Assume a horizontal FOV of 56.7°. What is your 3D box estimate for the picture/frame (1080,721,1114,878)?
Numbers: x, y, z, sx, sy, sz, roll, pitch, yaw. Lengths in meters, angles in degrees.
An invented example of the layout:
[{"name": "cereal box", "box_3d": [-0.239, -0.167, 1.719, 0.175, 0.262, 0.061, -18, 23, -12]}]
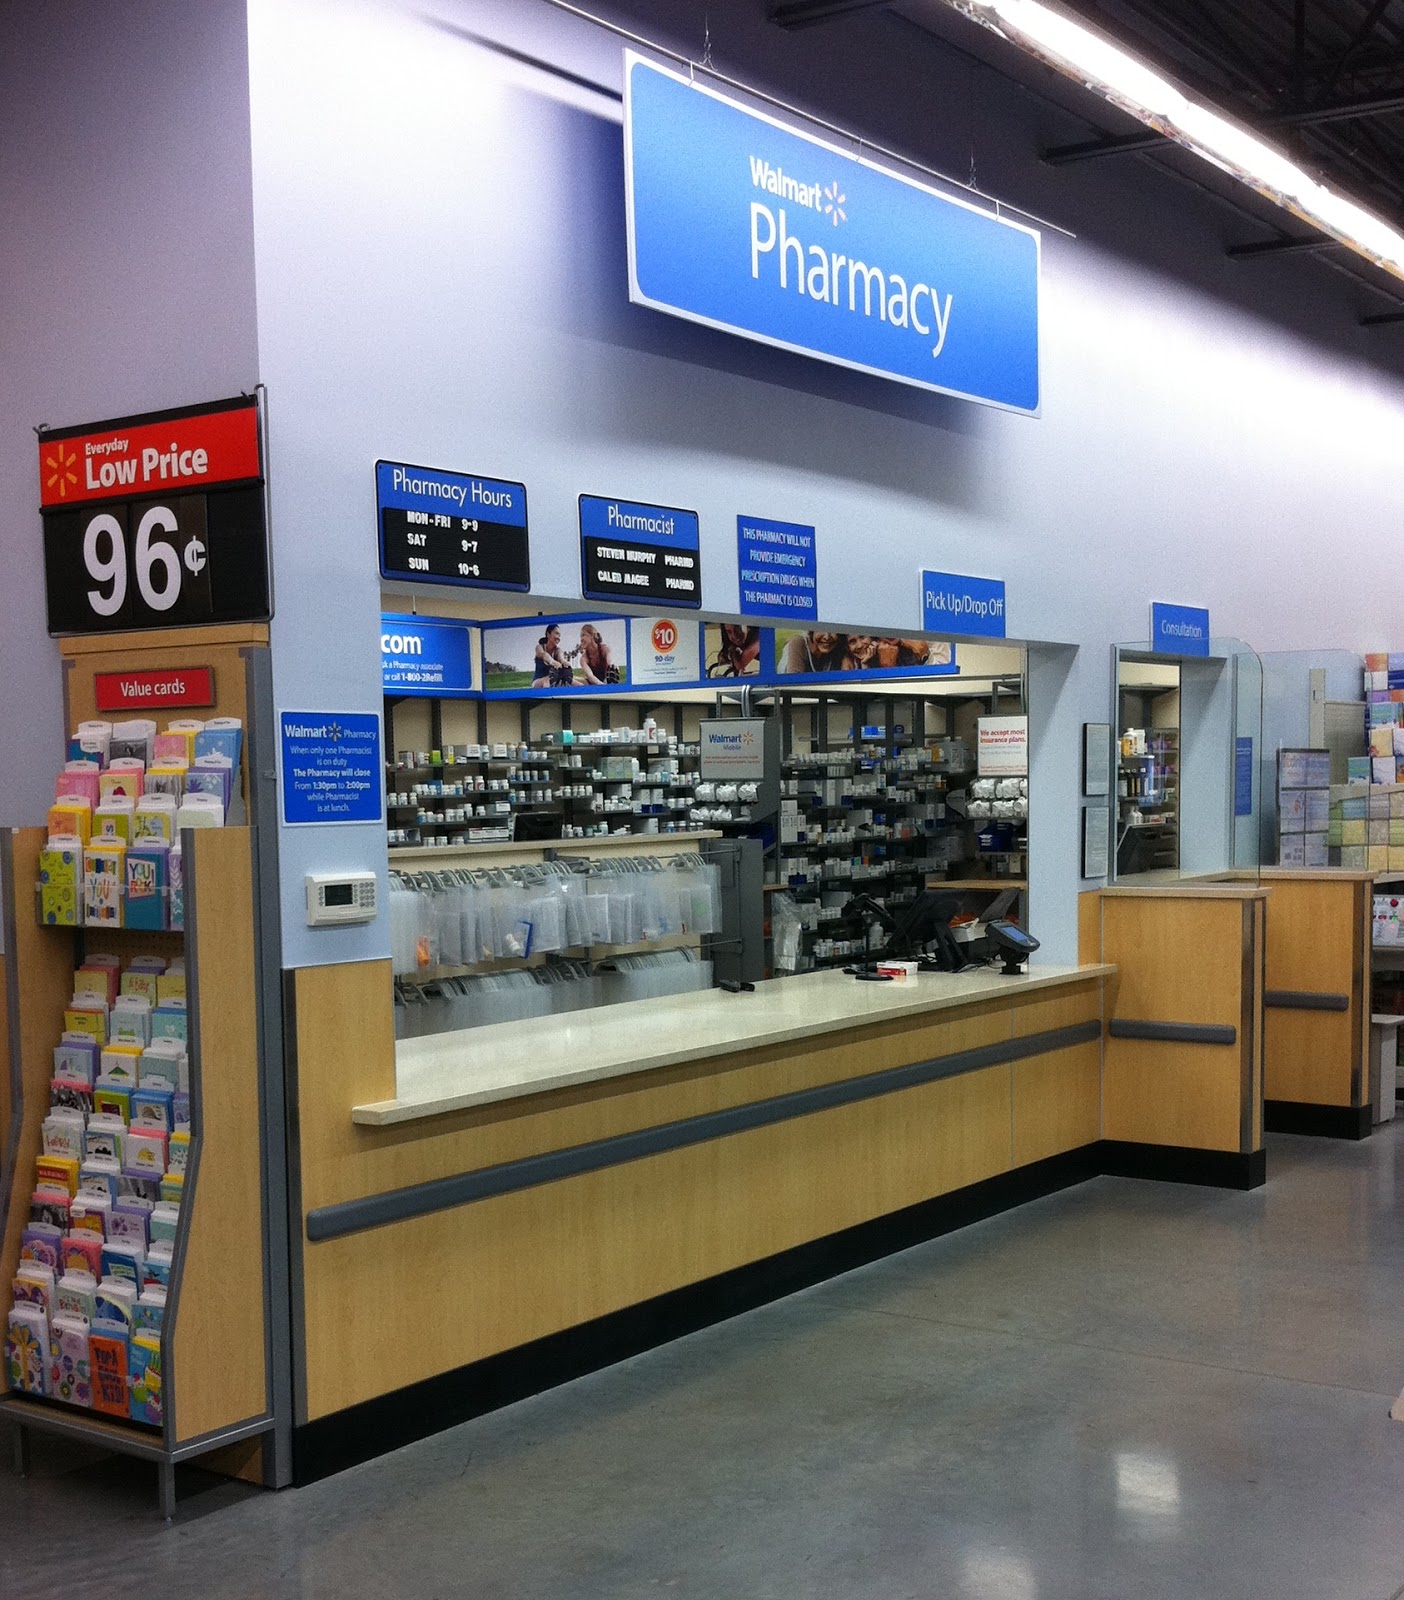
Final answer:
[{"name": "picture/frame", "box_3d": [1.921, 0.004, 6.381, 0.105, 0.755, 0.363, 0, 5, 34]}]
